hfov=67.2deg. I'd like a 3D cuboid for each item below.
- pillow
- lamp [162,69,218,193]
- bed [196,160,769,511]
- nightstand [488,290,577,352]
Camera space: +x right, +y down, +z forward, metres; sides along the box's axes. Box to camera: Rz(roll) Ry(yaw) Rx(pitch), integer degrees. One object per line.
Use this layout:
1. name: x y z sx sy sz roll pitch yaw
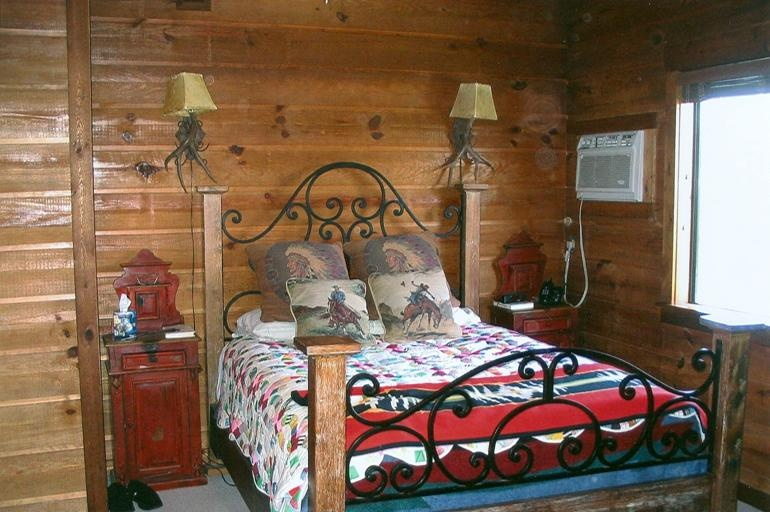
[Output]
1. pillow: -0.579 0.224 3.922 1.041 0.532 0.685 -7 4 -15
2. lamp: -1.272 -0.830 3.798 0.394 0.653 0.454 -8 4 -18
3. bed: 0.142 0.172 3.443 2.733 1.736 2.565 -2 3 -21
4. nightstand: 1.178 0.497 4.678 0.653 0.514 0.378 -3 7 -23
